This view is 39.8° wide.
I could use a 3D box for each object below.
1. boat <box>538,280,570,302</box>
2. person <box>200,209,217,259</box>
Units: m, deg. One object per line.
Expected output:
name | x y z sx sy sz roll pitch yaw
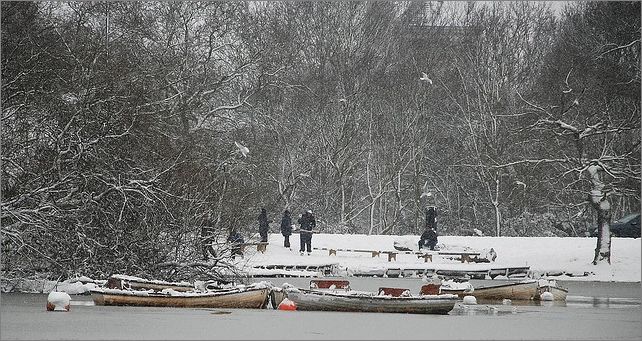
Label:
boat | 14.992 7.939 57.775 1.579 1.172 1.785 0 8 -29
person | -7.251 4.066 56.507 1.112 3.552 0.956 -3 22 -16
